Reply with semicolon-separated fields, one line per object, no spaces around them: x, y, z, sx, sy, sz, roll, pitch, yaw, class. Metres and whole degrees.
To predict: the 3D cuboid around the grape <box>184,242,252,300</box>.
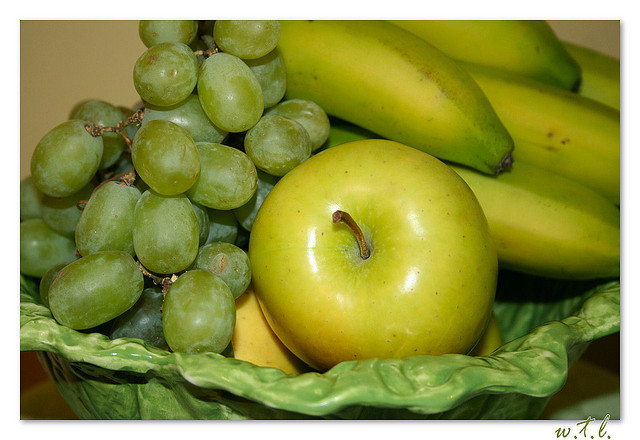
-0.155;0.085;0.948;0.090;0.076;0.052;23;-16;-3;grape

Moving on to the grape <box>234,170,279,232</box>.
-0.098;-0.030;1.060;0.071;0.097;0.055;18;-6;42;grape

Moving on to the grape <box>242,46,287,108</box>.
-0.079;-0.229;1.032;0.067;0.094;0.070;-30;14;0;grape

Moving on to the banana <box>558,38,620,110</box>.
0.500;-0.264;1.138;0.177;0.044;0.061;37;17;13;banana

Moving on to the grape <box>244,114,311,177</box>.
-0.071;-0.117;1.014;0.097;0.082;0.078;12;2;-7;grape

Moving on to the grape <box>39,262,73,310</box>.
-0.424;0.093;0.984;0.059;0.075;0.040;-6;20;-28;grape

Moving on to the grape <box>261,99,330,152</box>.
-0.030;-0.149;1.052;0.113;0.071;0.069;18;5;16;grape

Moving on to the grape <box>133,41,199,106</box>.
-0.230;-0.214;0.922;0.076;0.081;0.100;-3;8;8;grape

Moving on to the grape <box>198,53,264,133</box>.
-0.142;-0.197;0.956;0.089;0.115;0.066;11;16;32;grape

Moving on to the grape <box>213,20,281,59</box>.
-0.114;-0.284;0.960;0.077;0.063;0.061;2;33;2;grape

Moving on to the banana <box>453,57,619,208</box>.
0.413;-0.168;1.395;0.216;0.202;0.738;-2;4;9;banana

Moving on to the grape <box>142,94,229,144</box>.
-0.227;-0.173;0.986;0.117;0.069;0.067;0;10;-35;grape

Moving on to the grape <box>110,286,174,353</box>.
-0.266;0.163;0.970;0.061;0.084;0.106;-28;-40;36;grape

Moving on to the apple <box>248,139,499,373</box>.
0.092;0.064;1.078;0.325;0.352;0.370;-17;-23;9;apple
